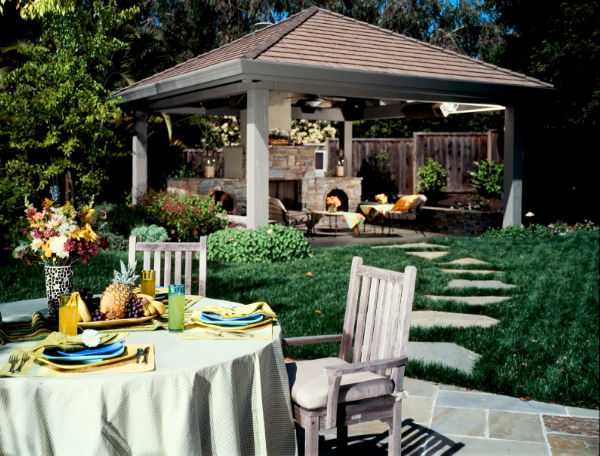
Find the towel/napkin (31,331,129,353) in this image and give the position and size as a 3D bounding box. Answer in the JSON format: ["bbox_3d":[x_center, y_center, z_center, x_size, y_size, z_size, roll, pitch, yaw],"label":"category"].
[{"bbox_3d":[-1.230,0.578,3.319,0.303,0.133,0.526,-3,5,-18],"label":"towel/napkin"}]

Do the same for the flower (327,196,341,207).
[{"bbox_3d":[0.786,-0.630,13.707,0.231,0.241,0.269,1,0,3],"label":"flower"}]

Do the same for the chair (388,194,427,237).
[{"bbox_3d":[2.643,-0.416,14.301,0.848,1.252,1.034,0,1,-2],"label":"chair"}]

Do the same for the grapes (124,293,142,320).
[{"bbox_3d":[-1.064,0.513,3.774,0.053,0.082,0.181,3,10,-3],"label":"grapes"}]

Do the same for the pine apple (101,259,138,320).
[{"bbox_3d":[-1.139,0.381,3.746,0.136,0.396,0.147,21,0,42],"label":"pine apple"}]

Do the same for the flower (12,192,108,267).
[{"bbox_3d":[-1.477,0.060,3.773,0.366,0.606,0.377,-2,-5,19],"label":"flower"}]
